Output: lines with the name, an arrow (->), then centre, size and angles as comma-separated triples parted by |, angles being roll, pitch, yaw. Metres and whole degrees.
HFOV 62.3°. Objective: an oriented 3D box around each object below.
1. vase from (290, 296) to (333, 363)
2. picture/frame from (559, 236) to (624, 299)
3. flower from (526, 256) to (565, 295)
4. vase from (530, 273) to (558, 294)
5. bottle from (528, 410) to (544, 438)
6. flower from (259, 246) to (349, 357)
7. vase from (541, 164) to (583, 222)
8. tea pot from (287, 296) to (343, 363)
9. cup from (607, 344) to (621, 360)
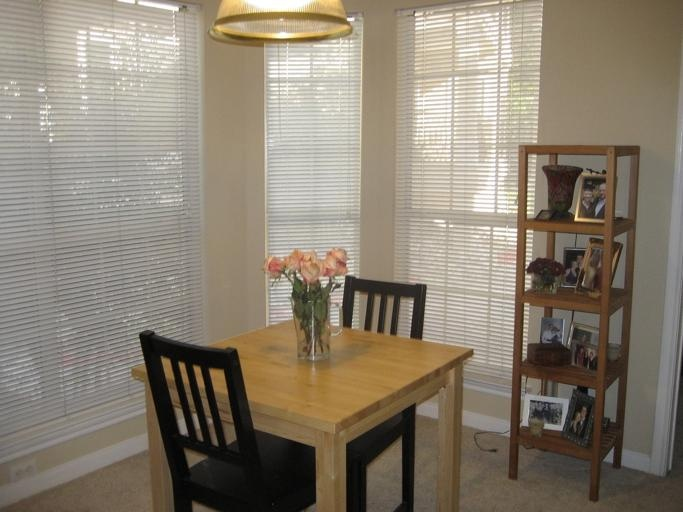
vase -> -0.130, 0.323, 2.752 | 0.303, 0.362, 0.240 | -1, 5, -7
picture/frame -> 1.481, 0.079, 3.333 | 0.117, 0.408, 0.345 | 1, 2, -18
flower -> 1.218, 0.087, 3.403 | 0.203, 0.209, 0.209 | 8, 15, 39
vase -> 1.216, 0.166, 3.378 | 0.116, 0.088, 0.121 | 0, 4, 7
bottle -> 1.174, 1.021, 3.406 | 0.079, 0.088, 0.106 | -2, -3, 27
flower -> -0.090, 0.192, 2.960 | 0.445, 0.650, 0.558 | 5, 8, 39
vase -> 1.276, -0.375, 3.318 | 0.292, 0.362, 0.277 | 0, 6, 3
tea pot -> -0.133, 0.368, 2.757 | 0.272, 0.321, 0.166 | -4, 7, -27
cup -> 1.630, 0.573, 3.383 | 0.073, 0.080, 0.091 | 1, -3, 4
